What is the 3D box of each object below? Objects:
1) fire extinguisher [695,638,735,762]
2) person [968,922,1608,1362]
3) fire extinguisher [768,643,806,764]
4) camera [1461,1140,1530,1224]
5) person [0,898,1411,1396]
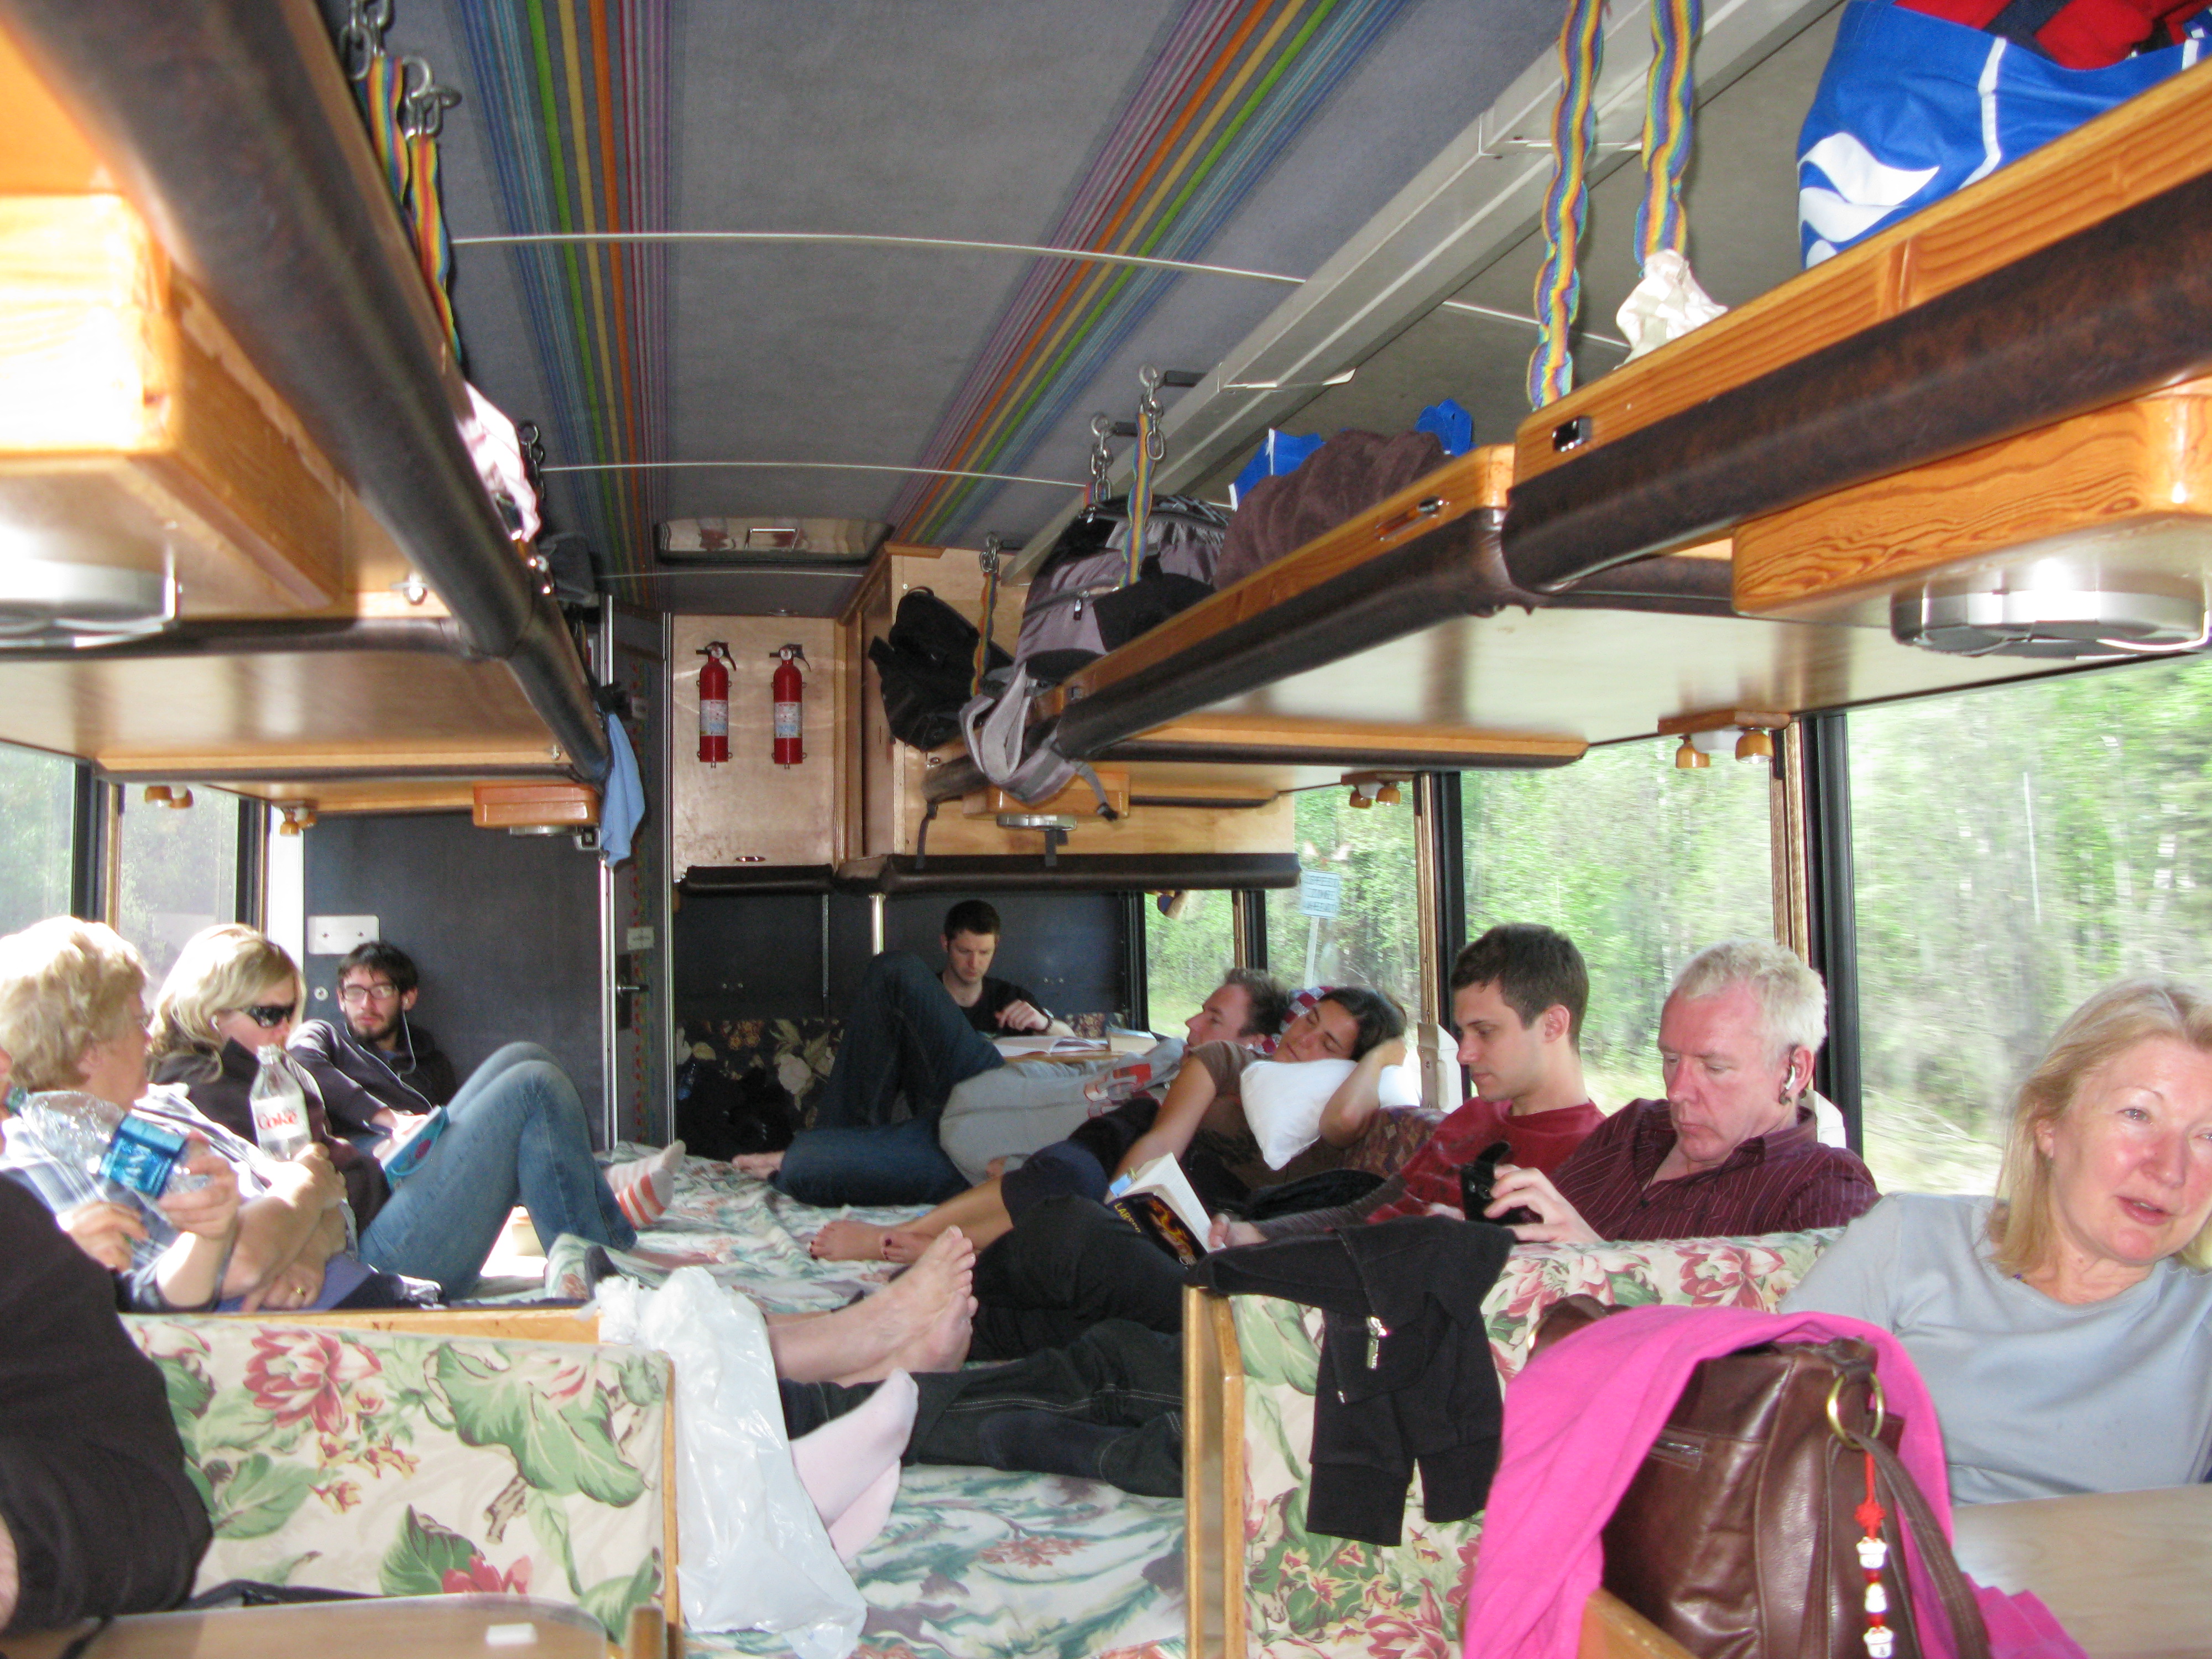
[{"bbox_3d":[-1.778,-0.589,7.595,0.154,0.551,0.277,2,-4,-10],"label":"fire extinguisher"},{"bbox_3d":[0.330,0.715,4.026,1.756,0.913,0.771,2,5,8],"label":"person"},{"bbox_3d":[-1.440,-0.573,7.626,0.164,0.545,0.334,2,-4,-10],"label":"fire extinguisher"},{"bbox_3d":[0.670,0.618,2.930,0.085,0.138,0.213,0,-4,12],"label":"camera"},{"bbox_3d":[-1.064,0.693,3.547,1.898,0.650,1.307,4,-9,-13],"label":"person"}]
